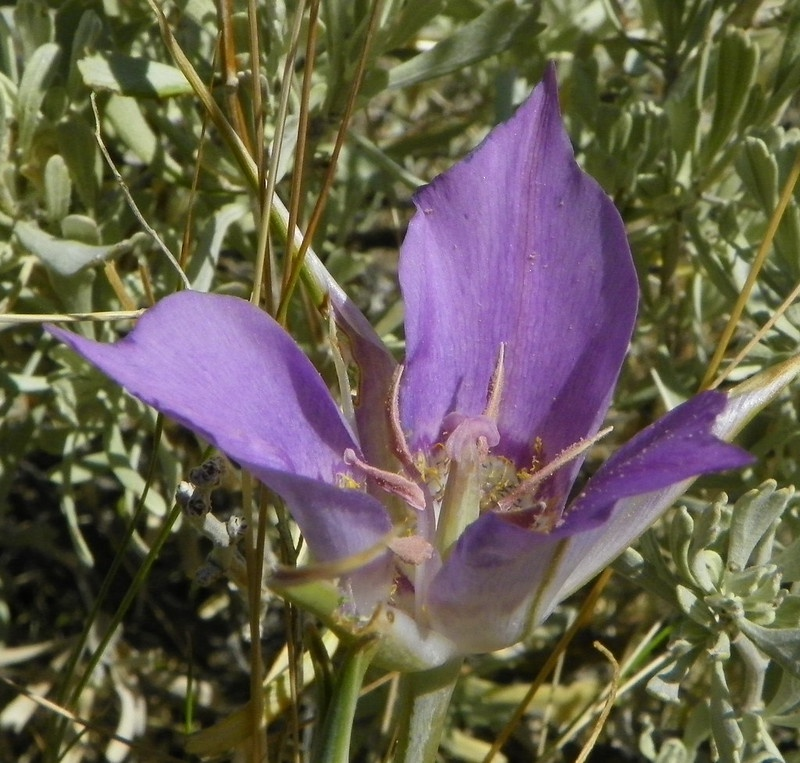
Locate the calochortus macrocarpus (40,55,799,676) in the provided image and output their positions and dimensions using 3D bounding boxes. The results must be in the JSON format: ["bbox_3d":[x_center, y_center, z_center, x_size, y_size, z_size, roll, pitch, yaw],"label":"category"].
[{"bbox_3d":[0.049,0.064,0.839,0.477,0.582,0.362,-35,69,-22],"label":"calochortus macrocarpus"}]
